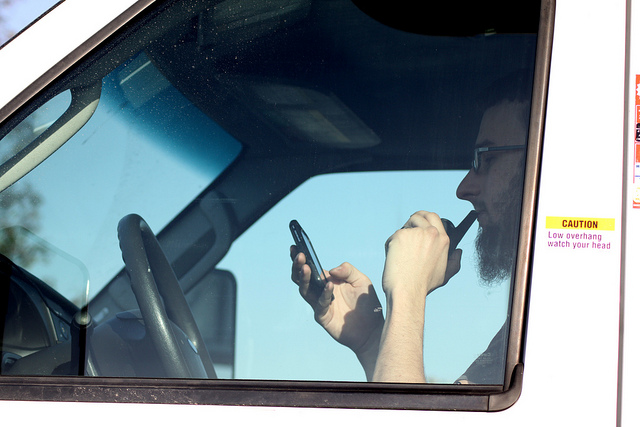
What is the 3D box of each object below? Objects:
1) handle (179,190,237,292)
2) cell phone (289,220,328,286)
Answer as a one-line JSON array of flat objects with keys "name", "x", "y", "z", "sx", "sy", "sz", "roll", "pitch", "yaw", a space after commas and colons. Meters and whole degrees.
[{"name": "handle", "x": -0.363, "y": 0.081, "z": 2.776, "sx": 0.199, "sy": 0.298, "sz": 0.087, "roll": -18, "pitch": -32, "yaw": 41}, {"name": "cell phone", "x": -0.027, "y": 0.086, "z": 2.745, "sx": 0.120, "sy": 0.232, "sz": 0.031, "roll": -10, "pitch": -43, "yaw": -7}]
